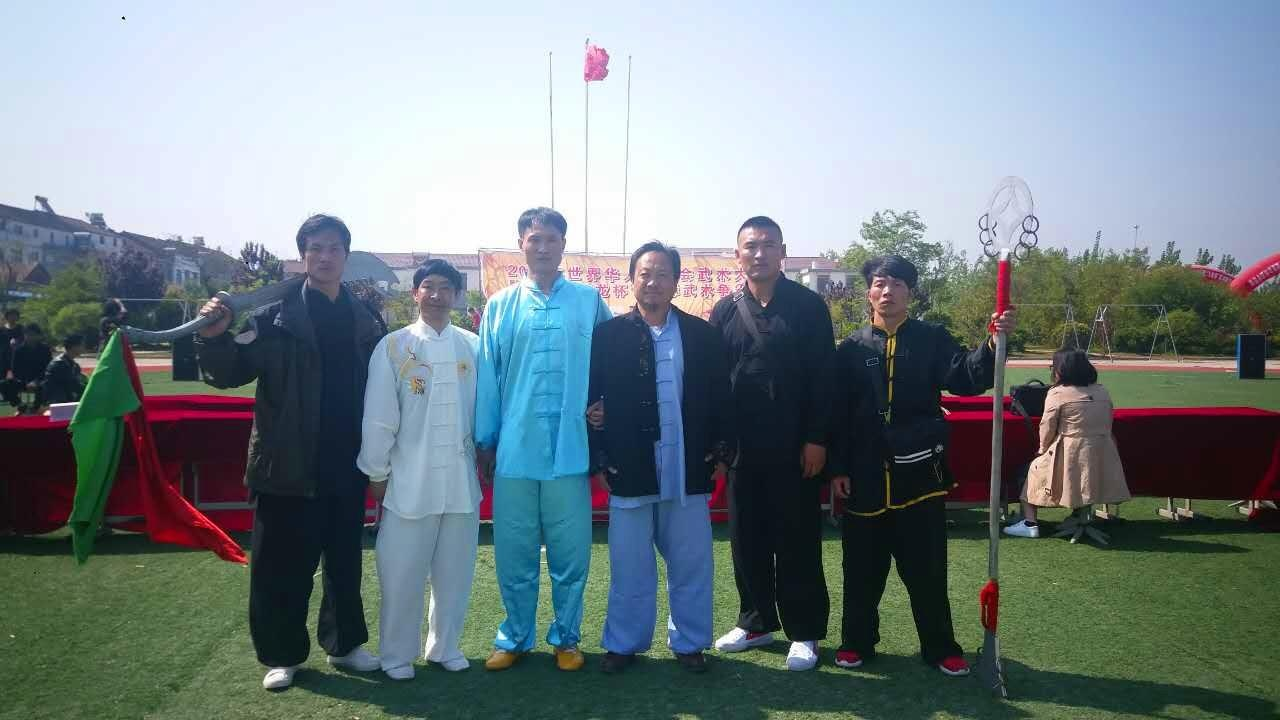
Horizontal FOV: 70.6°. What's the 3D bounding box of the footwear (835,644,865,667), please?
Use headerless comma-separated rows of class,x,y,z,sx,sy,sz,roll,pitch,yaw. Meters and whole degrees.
footwear,1.893,2.716,8.224,0.286,0.109,0.125,-1,3,-2

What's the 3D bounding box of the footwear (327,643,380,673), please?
footwear,-2.585,2.711,8.190,0.423,0.159,0.207,1,-1,5

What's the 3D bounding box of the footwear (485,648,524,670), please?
footwear,-1.237,2.739,8.225,0.131,0.130,0.354,-12,-16,37

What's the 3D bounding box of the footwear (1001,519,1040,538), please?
footwear,4.365,1.942,10.392,0.374,0.146,0.194,1,0,20

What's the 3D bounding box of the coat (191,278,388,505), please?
coat,-3.223,0.361,8.383,2.821,1.868,0.775,-1,7,-4

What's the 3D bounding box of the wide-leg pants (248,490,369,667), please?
wide-leg pants,-2.971,1.971,8.137,0.988,1.562,0.269,0,1,-23

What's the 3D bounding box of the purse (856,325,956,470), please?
purse,2.449,0.333,8.484,1.157,1.162,0.483,-2,3,-2

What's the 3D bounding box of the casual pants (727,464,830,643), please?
casual pants,1.286,1.768,8.368,0.882,1.605,0.239,0,1,6

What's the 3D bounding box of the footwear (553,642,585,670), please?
footwear,-0.646,2.718,8.213,0.273,0.190,0.151,0,1,1

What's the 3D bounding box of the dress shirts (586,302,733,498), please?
dress shirts,0.190,0.389,8.257,1.308,1.711,0.271,0,1,-6

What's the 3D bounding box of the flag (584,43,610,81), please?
flag,-1.284,-8.949,27.226,0.586,1.177,1.502,0,1,-8

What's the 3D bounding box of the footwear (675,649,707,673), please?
footwear,0.465,2.734,8.182,0.145,0.135,0.299,2,-7,-26

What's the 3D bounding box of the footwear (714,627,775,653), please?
footwear,0.952,2.609,8.423,0.597,0.210,0.205,2,-6,-12

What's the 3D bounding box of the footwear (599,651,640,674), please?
footwear,-0.184,2.749,8.142,0.309,0.131,0.149,11,-7,-28
